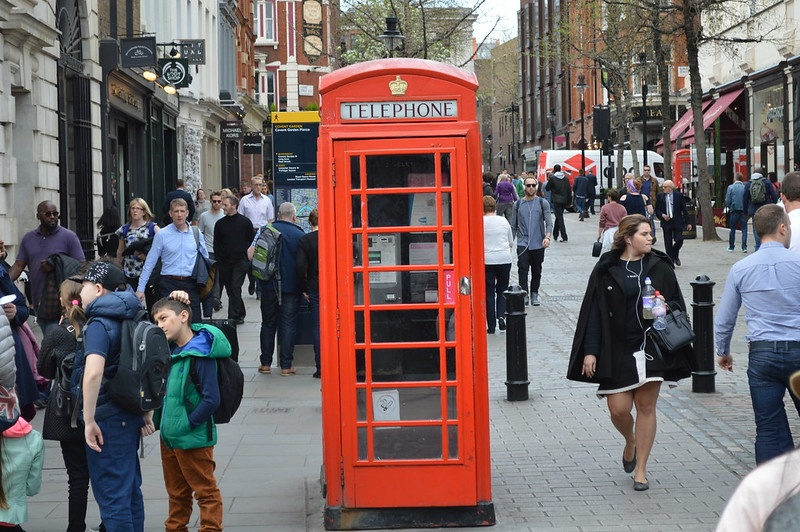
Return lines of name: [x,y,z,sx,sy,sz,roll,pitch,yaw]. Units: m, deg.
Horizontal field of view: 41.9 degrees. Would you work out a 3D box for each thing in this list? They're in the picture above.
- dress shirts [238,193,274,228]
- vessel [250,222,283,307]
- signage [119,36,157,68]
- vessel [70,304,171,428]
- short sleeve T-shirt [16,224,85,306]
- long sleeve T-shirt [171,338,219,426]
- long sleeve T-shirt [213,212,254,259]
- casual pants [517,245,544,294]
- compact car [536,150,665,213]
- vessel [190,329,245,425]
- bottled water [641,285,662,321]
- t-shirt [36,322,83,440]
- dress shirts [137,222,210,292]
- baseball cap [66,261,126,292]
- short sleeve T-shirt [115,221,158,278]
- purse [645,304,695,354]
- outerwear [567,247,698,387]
dress shirts: [-2.834,-1.089,20.640,0.881,0.839,0.491,1,-4,-10]
vessel: [-1.888,-0.029,14.875,0.496,1.137,0.346,12,17,15]
signage: [-5.625,-4.581,22.445,0.762,0.700,0.103,-1,-4,-9]
vessel: [-2.431,0.884,9.565,0.607,0.943,0.657,-1,-9,7]
short sleeve T-shirt: [-4.723,0.049,14.134,1.309,1.256,0.384,0,4,4]
long sleeve T-shirt: [-1.787,1.135,9.540,0.287,0.621,0.208,-3,11,-10]
long sleeve T-shirt: [-2.752,-0.485,17.329,0.740,1.051,0.490,1,6,-7]
casual pants: [2.473,0.079,19.433,0.429,0.367,1.834,-10,27,16]
compact car: [9.721,-3.861,48.444,7.063,3.470,2.953,-2,6,-7]
vessel: [-1.720,0.893,9.925,0.391,0.731,0.483,-1,-35,-30]
bottled water: [2.613,0.359,10.685,0.209,0.378,0.210,-4,-1,-36]
t-shirt: [-3.087,1.075,9.888,0.545,1.027,0.692,-3,-3,-9]
dress shirts: [-3.217,-0.134,15.299,1.206,1.025,0.346,-1,9,-30]
baseball cap: [-2.783,0.106,9.622,0.418,0.233,0.279,3,-2,-1]
short sleeve T-shirt: [-3.887,-0.244,15.718,0.767,0.912,0.478,-3,-4,12]
purse: [2.717,0.637,10.595,0.322,0.399,0.214,-29,-4,-6]
outerwear: [2.553,0.606,11.477,1.766,2.067,0.919,0,-4,-1]
